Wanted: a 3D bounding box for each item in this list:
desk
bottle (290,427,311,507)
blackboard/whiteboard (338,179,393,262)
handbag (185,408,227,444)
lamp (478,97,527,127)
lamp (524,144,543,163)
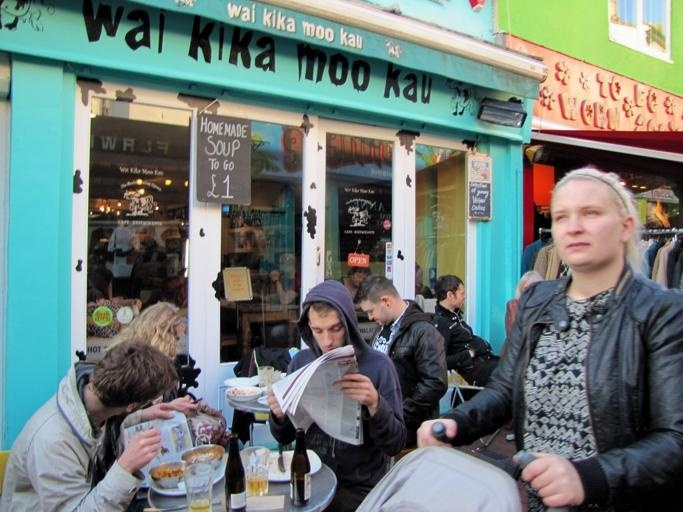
[{"bbox_3d":[-0.809,0.664,5.192,0.648,0.688,0.492,1,0,-32],"label":"desk"},{"bbox_3d":[-0.229,1.143,3.029,0.116,0.392,0.199,-1,-1,-5],"label":"bottle"},{"bbox_3d":[0.221,-0.363,5.790,0.762,1.162,0.051,1,-1,-26],"label":"blackboard/whiteboard"},{"bbox_3d":[-0.938,1.230,3.915,0.120,0.218,0.277,-22,-19,22],"label":"handbag"},{"bbox_3d":[1.804,-1.620,6.227,0.364,0.394,0.353,3,-6,-15],"label":"lamp"},{"bbox_3d":[2.357,-1.278,6.845,0.189,0.256,0.245,-7,4,-30],"label":"lamp"}]
